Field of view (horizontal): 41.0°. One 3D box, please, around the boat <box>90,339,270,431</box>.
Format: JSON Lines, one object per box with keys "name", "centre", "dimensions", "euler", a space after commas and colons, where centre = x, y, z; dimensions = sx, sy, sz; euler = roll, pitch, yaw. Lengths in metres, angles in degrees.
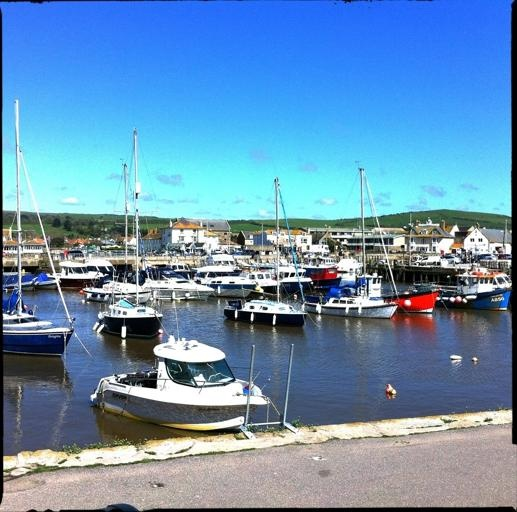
{"name": "boat", "centre": [-2.410, 3.790, 20.215], "dimensions": [4.646, 1.924, 2.267], "euler": [0, 0, 37]}
